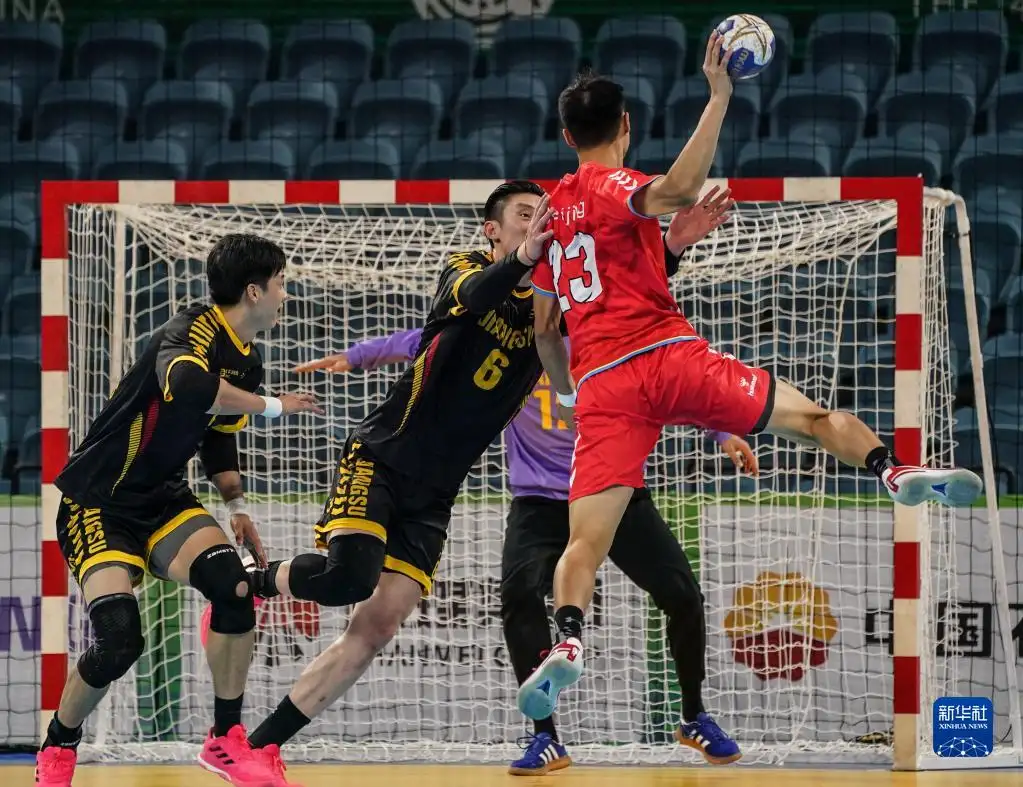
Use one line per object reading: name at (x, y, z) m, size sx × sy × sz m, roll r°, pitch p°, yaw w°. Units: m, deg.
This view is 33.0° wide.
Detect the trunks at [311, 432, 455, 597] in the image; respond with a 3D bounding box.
trunks at (-0.795, 0.798, 11.122) m, size 0.880 × 0.846 × 0.506 m, roll 31°, pitch -23°, yaw -19°

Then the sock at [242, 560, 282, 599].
sock at (-1.604, 1.182, 10.995) m, size 0.197 × 0.121 × 0.255 m, roll 3°, pitch -1°, yaw -32°

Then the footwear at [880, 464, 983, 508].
footwear at (2.545, 0.559, 10.393) m, size 0.590 × 0.249 × 0.272 m, roll 5°, pitch 13°, yaw 3°

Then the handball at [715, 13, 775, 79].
handball at (1.420, -2.082, 10.463) m, size 0.373 × 0.383 × 0.358 m, roll -5°, pitch 17°, yaw -14°

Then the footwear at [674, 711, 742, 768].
footwear at (1.309, 2.235, 11.412) m, size 0.473 × 0.235 × 0.235 m, roll 30°, pitch -40°, yaw 25°

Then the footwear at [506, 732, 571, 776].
footwear at (0.170, 2.378, 11.352) m, size 0.437 × 0.218 × 0.202 m, roll 6°, pitch -14°, yaw -40°

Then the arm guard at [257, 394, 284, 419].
arm guard at (-1.551, 0.082, 11.063) m, size 0.147 × 0.114 × 0.124 m, roll 5°, pitch -1°, yaw 39°

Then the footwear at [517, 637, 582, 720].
footwear at (0.249, 1.706, 10.344) m, size 0.269 × 0.566 × 0.235 m, roll 39°, pitch 7°, yaw -7°

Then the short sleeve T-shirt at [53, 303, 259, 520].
short sleeve T-shirt at (-2.191, 0.069, 10.895) m, size 1.157 × 1.328 × 0.476 m, roll 7°, pitch -8°, yaw -11°

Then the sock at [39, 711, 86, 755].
sock at (-2.837, 2.123, 10.908) m, size 0.233 × 0.229 × 0.161 m, roll 6°, pitch -8°, yaw -9°

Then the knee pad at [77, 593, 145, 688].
knee pad at (-2.493, 1.529, 10.771) m, size 0.382 × 0.595 × 0.182 m, roll 6°, pitch -8°, yaw -7°
